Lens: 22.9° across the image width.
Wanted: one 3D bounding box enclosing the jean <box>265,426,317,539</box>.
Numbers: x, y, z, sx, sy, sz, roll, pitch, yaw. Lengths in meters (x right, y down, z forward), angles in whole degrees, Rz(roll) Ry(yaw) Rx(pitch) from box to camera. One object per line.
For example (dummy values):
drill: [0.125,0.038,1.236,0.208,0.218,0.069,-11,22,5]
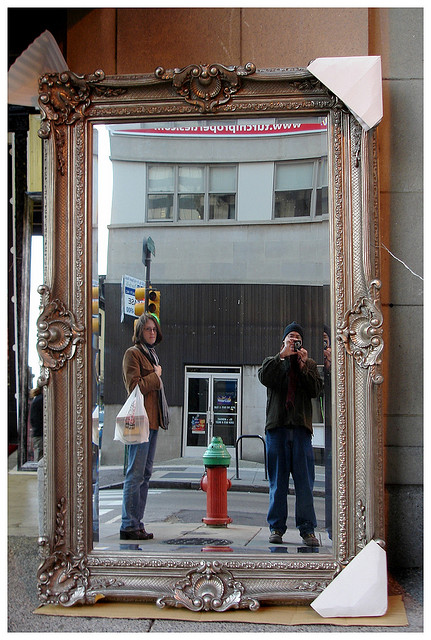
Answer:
jean: [0.440,0.933,6.231,0.275,0.786,0.214,4,17,13]
